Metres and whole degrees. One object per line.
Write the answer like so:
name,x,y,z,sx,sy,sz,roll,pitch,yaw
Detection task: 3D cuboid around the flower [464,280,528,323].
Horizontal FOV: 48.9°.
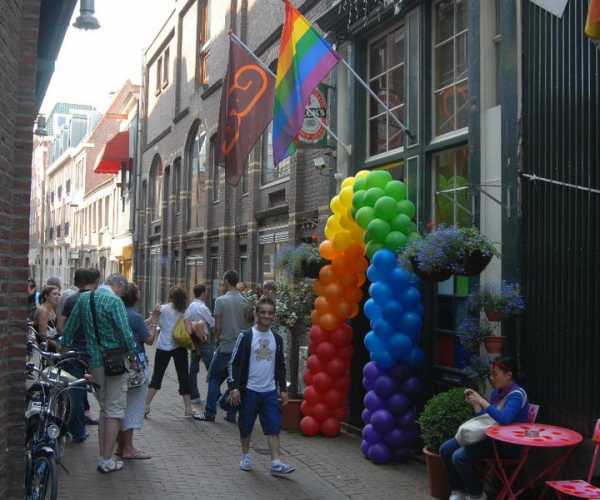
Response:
flower,2.099,0.538,7.018,0.573,0.429,0.370,-2,-7,17

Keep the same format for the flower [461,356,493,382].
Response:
flower,1.906,1.240,7.041,0.236,0.225,0.256,-9,-6,17

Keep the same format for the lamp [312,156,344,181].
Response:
lamp,0.521,-1.456,11.713,0.326,0.305,0.524,7,11,-28

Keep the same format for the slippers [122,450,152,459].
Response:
slippers,-1.992,2.509,8.055,0.264,0.106,0.153,1,-5,-2

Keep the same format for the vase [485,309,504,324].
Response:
vase,2.033,0.703,6.924,0.121,0.121,0.142,1,-9,2

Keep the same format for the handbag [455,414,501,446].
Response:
handbag,1.631,1.647,6.115,0.299,0.125,0.248,-33,16,6

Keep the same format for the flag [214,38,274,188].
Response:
flag,-0.926,-2.291,10.807,1.076,2.430,0.279,-3,-7,29

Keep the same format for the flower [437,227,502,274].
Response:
flower,1.791,0.038,6.905,0.427,0.432,0.502,2,-9,3

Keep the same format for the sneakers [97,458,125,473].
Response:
sneakers,-2.135,2.421,7.479,0.125,0.155,0.303,3,3,27

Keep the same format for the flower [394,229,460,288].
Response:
flower,1.412,0.049,7.095,0.385,0.572,0.778,4,-8,-31

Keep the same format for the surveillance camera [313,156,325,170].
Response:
surveillance camera,0.347,-1.508,11.620,0.173,0.237,0.205,-4,-12,3

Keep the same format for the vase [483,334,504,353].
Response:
vase,2.036,0.986,6.896,0.145,0.143,0.170,1,-13,0

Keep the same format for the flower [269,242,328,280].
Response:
flower,0.006,0.166,10.135,0.517,0.415,0.610,5,-11,-5

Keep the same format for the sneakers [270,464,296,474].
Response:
sneakers,-0.190,2.464,7.482,0.288,0.176,0.114,-1,-5,3

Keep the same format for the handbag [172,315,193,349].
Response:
handbag,-1.852,1.276,10.303,0.350,0.578,0.247,0,-11,0

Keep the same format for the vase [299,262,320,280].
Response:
vase,0.144,0.290,9.499,0.220,0.197,0.217,2,0,-38

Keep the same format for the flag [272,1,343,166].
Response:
flag,0.017,-2.394,9.278,0.854,2.349,0.353,-1,-6,9

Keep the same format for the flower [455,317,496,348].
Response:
flower,1.866,0.874,7.166,0.266,0.273,0.309,-4,-5,-6
